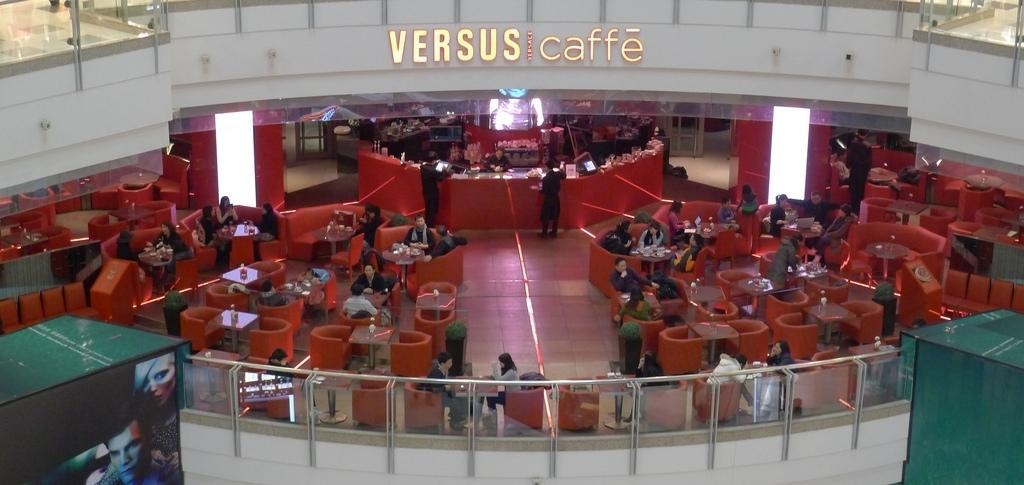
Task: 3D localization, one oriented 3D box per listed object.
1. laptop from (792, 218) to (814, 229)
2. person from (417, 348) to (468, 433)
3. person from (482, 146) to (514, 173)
[{"bbox_3d":[8.286,-0.530,22.146,0.481,0.267,0.273,3,-9,9],"label":"laptop"},{"bbox_3d":[-1.486,3.162,16.328,1.234,1.580,0.858,-16,31,-23],"label":"person"},{"bbox_3d":[-0.483,-2.722,25.229,1.205,1.271,0.887,0,0,2],"label":"person"}]
